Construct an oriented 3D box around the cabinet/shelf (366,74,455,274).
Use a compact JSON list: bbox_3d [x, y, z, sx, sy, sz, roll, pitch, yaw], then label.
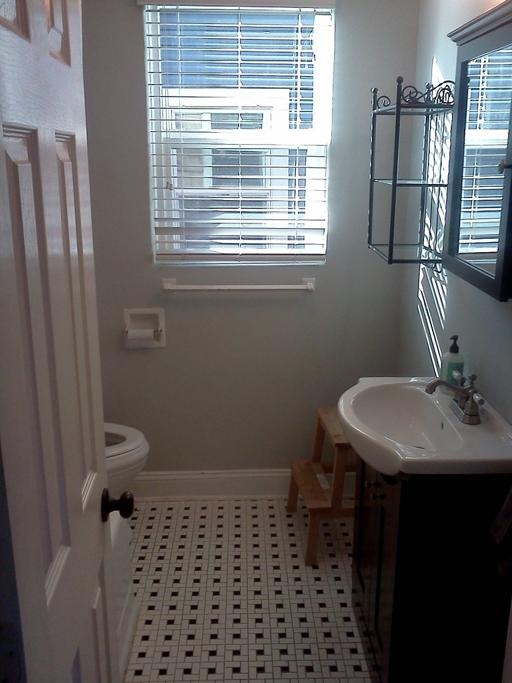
[{"bbox_3d":[0.642,-0.732,2.163,0.193,0.873,0.695,0,11,3],"label":"cabinet/shelf"}]
